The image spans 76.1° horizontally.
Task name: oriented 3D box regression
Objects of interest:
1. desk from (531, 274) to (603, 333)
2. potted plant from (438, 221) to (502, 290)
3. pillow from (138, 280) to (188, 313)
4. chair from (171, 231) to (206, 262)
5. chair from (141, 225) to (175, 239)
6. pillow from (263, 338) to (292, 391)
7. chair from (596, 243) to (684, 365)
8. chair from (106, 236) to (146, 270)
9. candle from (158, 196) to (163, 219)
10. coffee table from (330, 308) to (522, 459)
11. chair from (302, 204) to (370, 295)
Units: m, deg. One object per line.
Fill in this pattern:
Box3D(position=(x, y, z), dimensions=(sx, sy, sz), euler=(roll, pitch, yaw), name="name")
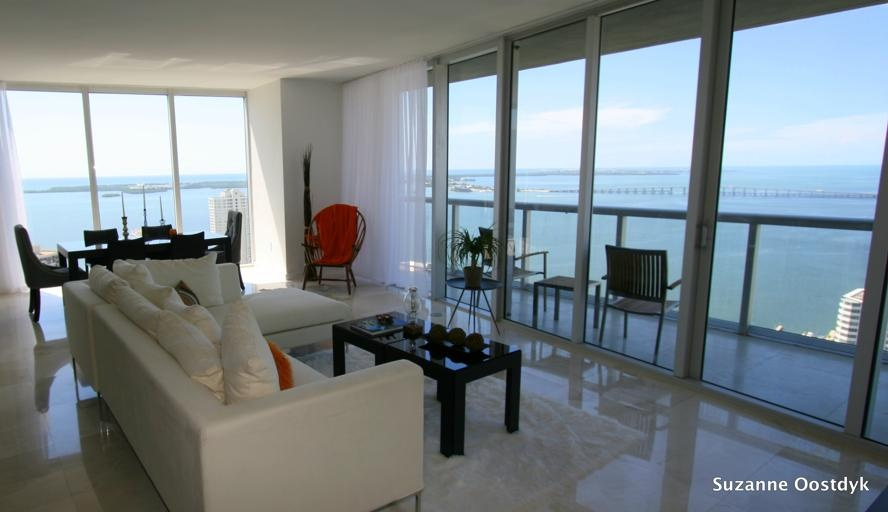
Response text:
Box3D(position=(1.485, 0.531, 7.142), dimensions=(0.672, 0.468, 0.664), euler=(8, 19, 28), name="desk")
Box3D(position=(0.367, 0.047, 6.906), dimensions=(0.712, 0.662, 0.674), euler=(4, -6, -21), name="potted plant")
Box3D(position=(-2.604, 0.365, 5.189), dimensions=(0.377, 0.112, 0.329), euler=(15, -1, 44), name="pillow")
Box3D(position=(-3.545, -0.167, 7.918), dimensions=(0.478, 0.547, 0.424), euler=(13, 14, 43), name="chair")
Box3D(position=(-4.252, -0.355, 8.395), dimensions=(0.317, 0.347, 0.315), euler=(0, 0, -42), name="chair")
Box3D(position=(-1.345, 0.898, 4.708), dimensions=(0.125, 0.335, 0.326), euler=(-19, -13, -5), name="pillow")
Box3D(position=(2.377, 0.483, 6.766), dimensions=(1.066, 1.191, 0.985), euler=(-1, 8, -23), name="chair")
Box3D(position=(-4.129, -0.057, 7.496), dimensions=(0.386, 0.496, 0.434), euler=(-7, 17, -44), name="chair")
Box3D(position=(-4.932, -0.860, 9.867), dimensions=(0.066, 0.368, 0.307), euler=(-5, 10, -27), name="candle")
Box3D(position=(0.007, 1.466, 5.460), dimensions=(1.694, 0.643, 0.873), euler=(-7, -13, -10), name="coffee table")
Box3D(position=(-1.801, -0.119, 9.011), dimensions=(1.080, 1.206, 1.038), euler=(11, 18, 32), name="chair")
